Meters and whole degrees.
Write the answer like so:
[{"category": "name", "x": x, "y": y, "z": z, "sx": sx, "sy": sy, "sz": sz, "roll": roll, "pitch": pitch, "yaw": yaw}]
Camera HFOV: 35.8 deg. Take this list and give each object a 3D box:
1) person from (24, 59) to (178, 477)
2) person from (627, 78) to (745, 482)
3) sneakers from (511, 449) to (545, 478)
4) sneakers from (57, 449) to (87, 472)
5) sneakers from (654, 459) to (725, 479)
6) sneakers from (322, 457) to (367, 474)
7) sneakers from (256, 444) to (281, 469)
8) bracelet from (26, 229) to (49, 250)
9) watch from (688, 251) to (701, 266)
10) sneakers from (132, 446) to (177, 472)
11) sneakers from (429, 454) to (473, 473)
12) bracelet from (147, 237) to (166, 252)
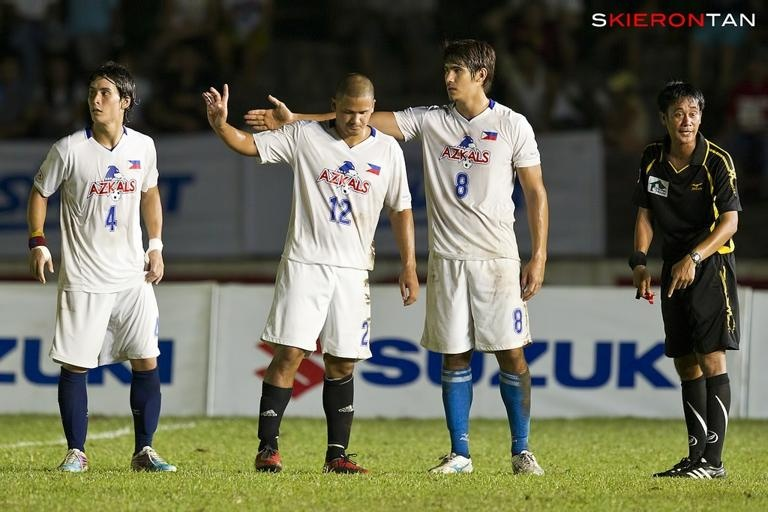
[{"category": "person", "x": -2.387, "y": 0.086, "z": 10.025, "sx": 1.086, "sy": 3.393, "sz": 0.617, "roll": -1, "pitch": 6, "yaw": -14}, {"category": "person", "x": 2.572, "y": 0.188, "z": 10.106, "sx": 0.874, "sy": 3.302, "sz": 0.561, "roll": 2, "pitch": 6, "yaw": 17}, {"category": "sneakers", "x": 1.221, "y": 1.747, "z": 10.144, "sx": 0.293, "sy": 0.201, "sz": 0.280, "roll": 1, "pitch": 6, "yaw": 12}, {"category": "sneakers", "x": -2.633, "y": 1.720, "z": 10.044, "sx": 0.240, "sy": 0.186, "sz": 0.319, "roll": -1, "pitch": 6, "yaw": -14}, {"category": "sneakers", "x": 2.580, "y": 1.820, "z": 10.110, "sx": 0.592, "sy": 0.237, "sz": 0.218, "roll": 3, "pitch": -21, "yaw": -2}, {"category": "sneakers", "x": -0.339, "y": 1.764, "z": 9.997, "sx": 0.344, "sy": 0.143, "sz": 0.146, "roll": 1, "pitch": -4, "yaw": 4}, {"category": "sneakers", "x": -0.973, "y": 1.691, "z": 9.971, "sx": 0.215, "sy": 0.208, "sz": 0.143, "roll": -1, "pitch": 6, "yaw": -6}, {"category": "bracelet", "x": -2.964, "y": -0.139, "z": 10.165, "sx": 0.160, "sy": 0.173, "sz": 0.167, "roll": -5, "pitch": -12, "yaw": -18}, {"category": "watch", "x": 2.598, "y": 0.014, "z": 9.941, "sx": 0.084, "sy": 0.111, "sz": 0.043, "roll": -13, "pitch": 4, "yaw": -26}, {"category": "sneakers", "x": -1.894, "y": 1.706, "z": 10.071, "sx": 0.462, "sy": 0.205, "sz": 0.163, "roll": 2, "pitch": -1, "yaw": 12}, {"category": "sneakers", "x": 0.573, "y": 1.762, "z": 10.139, "sx": 0.362, "sy": 0.160, "sz": 0.154, "roll": 3, "pitch": -10, "yaw": -17}, {"category": "bracelet", "x": -1.974, "y": -0.101, "z": 10.282, "sx": 0.116, "sy": 0.118, "sz": 0.124, "roll": 3, "pitch": -11, "yaw": -21}]
